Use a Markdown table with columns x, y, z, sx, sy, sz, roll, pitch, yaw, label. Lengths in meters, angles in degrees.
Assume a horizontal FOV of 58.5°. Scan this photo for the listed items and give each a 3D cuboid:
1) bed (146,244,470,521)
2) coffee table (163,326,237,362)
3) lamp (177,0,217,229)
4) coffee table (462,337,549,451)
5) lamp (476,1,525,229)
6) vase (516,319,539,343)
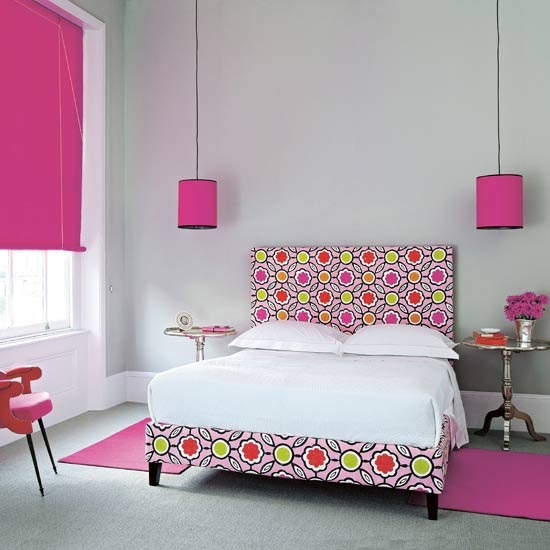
| x | y | z | sx | sy | sz | roll | pitch | yaw | label |
| --- | --- | --- | --- | --- | --- | --- | --- | --- | --- |
| 0.345 | 0.453 | 3.338 | 1.796 | 1.461 | 1.873 | -1 | -1 | 20 | bed |
| -0.604 | 0.496 | 4.208 | 0.396 | 0.410 | 0.418 | -2 | -2 | 44 | coffee table |
| -0.675 | -1.474 | 4.350 | 0.318 | 2.121 | 0.447 | 0 | -1 | 1 | lamp |
| 1.583 | 0.832 | 3.680 | 0.708 | 0.793 | 0.732 | -1 | -2 | 2 | coffee table |
| 1.653 | -1.230 | 3.629 | 0.321 | 1.778 | 0.398 | 0 | -1 | 24 | lamp |
| 1.769 | 0.384 | 3.478 | 0.157 | 0.174 | 0.152 | 1 | -1 | 43 | vase |
